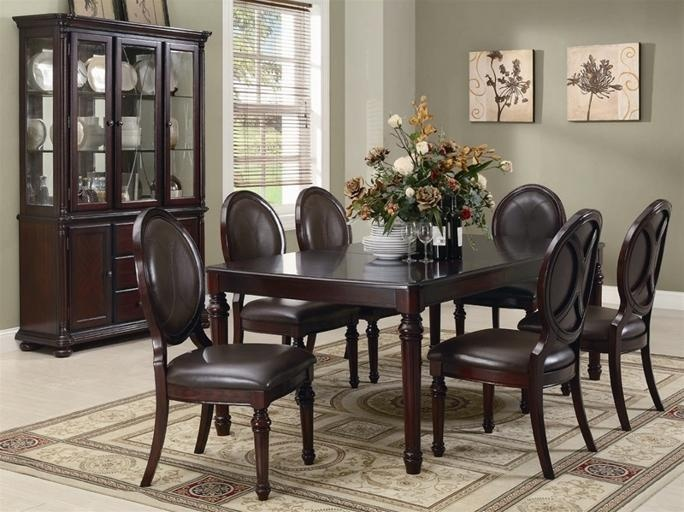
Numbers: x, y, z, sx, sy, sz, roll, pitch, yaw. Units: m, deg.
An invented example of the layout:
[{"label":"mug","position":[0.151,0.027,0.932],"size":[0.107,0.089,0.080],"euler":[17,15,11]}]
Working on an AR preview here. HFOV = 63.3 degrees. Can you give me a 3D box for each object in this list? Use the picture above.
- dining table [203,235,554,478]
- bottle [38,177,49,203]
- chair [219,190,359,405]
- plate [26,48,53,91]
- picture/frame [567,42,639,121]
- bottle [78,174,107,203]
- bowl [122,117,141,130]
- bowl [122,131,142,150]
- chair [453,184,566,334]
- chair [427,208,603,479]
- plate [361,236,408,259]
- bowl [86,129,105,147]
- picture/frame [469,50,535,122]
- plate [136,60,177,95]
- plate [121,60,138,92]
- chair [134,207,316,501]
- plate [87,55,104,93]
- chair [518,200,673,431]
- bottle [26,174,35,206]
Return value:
[{"label":"dining table","position":[0.119,0.121,2.640],"size":[1.052,0.710,1.557],"euler":[2,5,34]},{"label":"bottle","position":[-2.208,-0.493,4.141],"size":[0.118,0.204,0.013],"euler":[3,6,36]},{"label":"chair","position":[-0.318,0.176,3.314],"size":[0.692,1.078,0.675],"euler":[3,7,25]},{"label":"plate","position":[-2.210,-1.366,4.106],"size":[0.256,0.312,0.015],"euler":[2,6,25]},{"label":"picture/frame","position":[2.753,-1.843,5.815],"size":[0.941,0.884,0.093],"euler":[2,4,37]},{"label":"bottle","position":[-1.885,-0.514,4.213],"size":[0.236,0.210,0.132],"euler":[-3,3,-33]},{"label":"bowl","position":[-1.669,-1.054,4.426],"size":[0.104,0.071,0.103],"euler":[1,9,0]},{"label":"bowl","position":[-1.671,-0.921,4.435],"size":[0.141,0.095,0.137],"euler":[0,2,0]},{"label":"chair","position":[1.073,0.230,3.743],"size":[0.588,0.885,0.491],"euler":[9,-4,11]},{"label":"chair","position":[0.762,0.347,2.456],"size":[0.608,0.964,0.669],"euler":[-3,1,-44]},{"label":"plate","position":[0.237,-0.059,2.902],"size":[0.153,0.061,0.156],"euler":[3,4,39]},{"label":"bowl","position":[-1.849,-0.890,4.240],"size":[0.141,0.126,0.139],"euler":[2,1,0]},{"label":"picture/frame","position":[1.855,-1.970,6.366],"size":[0.953,0.895,0.067],"euler":[2,3,37]},{"label":"plate","position":[-1.497,-1.459,4.494],"size":[0.066,0.263,0.274],"euler":[-2,18,16]},{"label":"plate","position":[-1.672,-1.412,4.386],"size":[0.030,0.183,0.191],"euler":[2,17,29]},{"label":"chair","position":[-0.458,0.354,2.184],"size":[0.635,1.083,0.428],"euler":[0,5,9]},{"label":"plate","position":[-1.838,-1.377,4.181],"size":[0.026,0.281,0.133],"euler":[4,6,39]},{"label":"chair","position":[1.358,0.295,3.074],"size":[0.676,1.044,0.759],"euler":[-4,3,-40]},{"label":"bottle","position":[-2.354,-0.503,4.222],"size":[0.095,0.209,0.018],"euler":[3,6,37]}]
